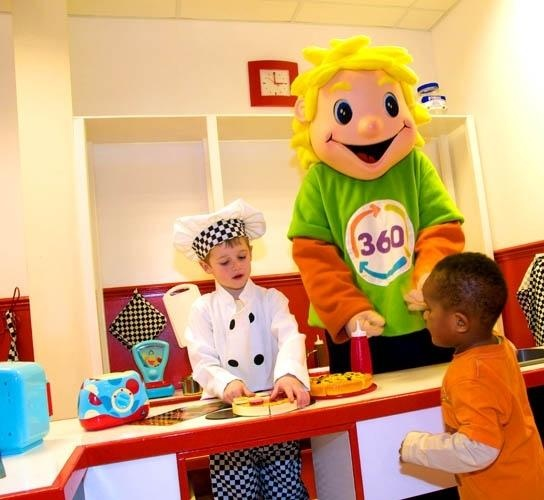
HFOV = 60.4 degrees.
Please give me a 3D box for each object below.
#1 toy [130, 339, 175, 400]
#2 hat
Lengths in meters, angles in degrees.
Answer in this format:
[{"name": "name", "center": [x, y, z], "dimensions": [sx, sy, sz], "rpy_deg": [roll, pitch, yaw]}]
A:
[{"name": "toy", "center": [-0.541, 0.530, 2.122], "dimensions": [0.218, 0.351, 0.208], "rpy_deg": [-3, -14, -17]}, {"name": "hat", "center": [-0.151, 0.000, 1.286], "dimensions": [0.188, 0.090, 0.189], "rpy_deg": [-8, -17, -47]}]
